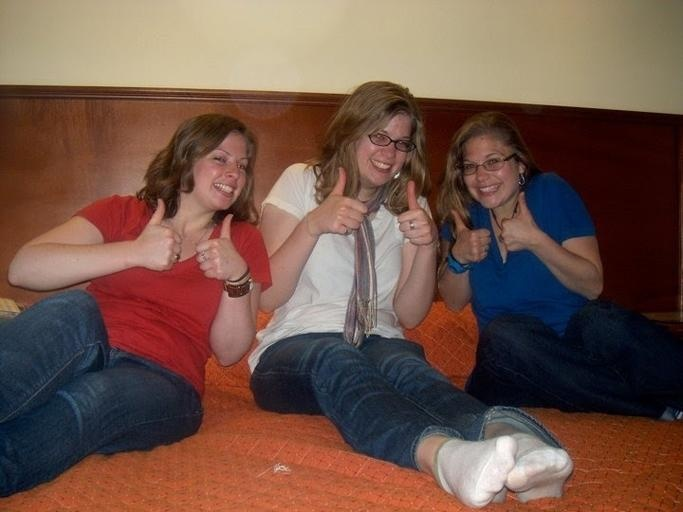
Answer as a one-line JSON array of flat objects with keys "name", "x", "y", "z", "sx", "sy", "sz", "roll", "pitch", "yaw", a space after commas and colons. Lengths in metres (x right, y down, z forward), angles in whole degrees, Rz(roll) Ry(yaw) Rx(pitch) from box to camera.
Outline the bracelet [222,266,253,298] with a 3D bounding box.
[{"name": "bracelet", "x": -0.354, "y": 0.087, "z": 1.901, "sx": 0.088, "sy": 0.062, "sz": 0.091, "roll": 3, "pitch": 10, "yaw": 36}]

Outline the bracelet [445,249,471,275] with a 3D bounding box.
[{"name": "bracelet", "x": 0.476, "y": 0.018, "z": 2.265, "sx": 0.090, "sy": 0.054, "sz": 0.074, "roll": 7, "pitch": 18, "yaw": 14}]

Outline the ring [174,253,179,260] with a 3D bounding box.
[{"name": "ring", "x": -0.548, "y": 0.000, "z": 1.850, "sx": 0.010, "sy": 0.019, "sz": 0.016, "roll": 0, "pitch": -13, "yaw": -7}]

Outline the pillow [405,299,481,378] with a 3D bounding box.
[{"name": "pillow", "x": 0.452, "y": 0.361, "z": 2.432, "sx": 0.279, "sy": 0.087, "sz": 0.296, "roll": 27, "pitch": 56, "yaw": 5}]

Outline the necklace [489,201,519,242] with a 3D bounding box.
[{"name": "necklace", "x": 0.645, "y": -0.135, "z": 2.240, "sx": 0.112, "sy": 0.161, "sz": 0.047, "roll": -15, "pitch": -7, "yaw": 32}]
